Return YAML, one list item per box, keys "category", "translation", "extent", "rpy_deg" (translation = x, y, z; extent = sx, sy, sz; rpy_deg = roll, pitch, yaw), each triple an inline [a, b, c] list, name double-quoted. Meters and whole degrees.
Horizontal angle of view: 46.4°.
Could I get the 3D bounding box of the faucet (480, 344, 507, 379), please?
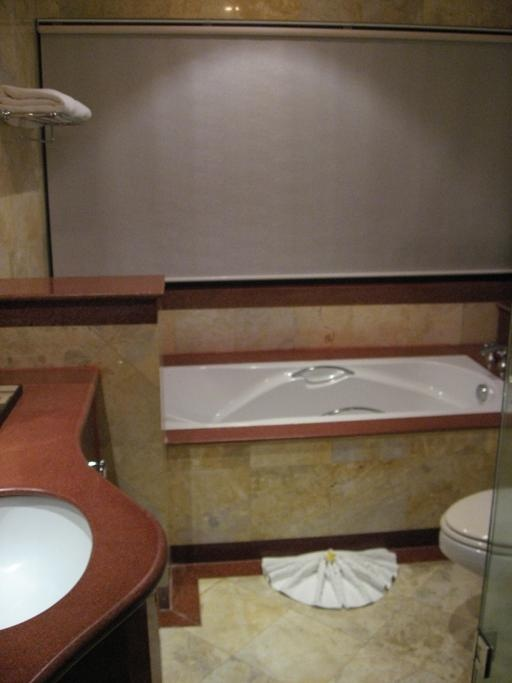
- category: "faucet"
  translation: [1.080, 0.097, 2.738]
  extent: [0.082, 0.054, 0.148]
  rpy_deg: [-2, 33, 16]
